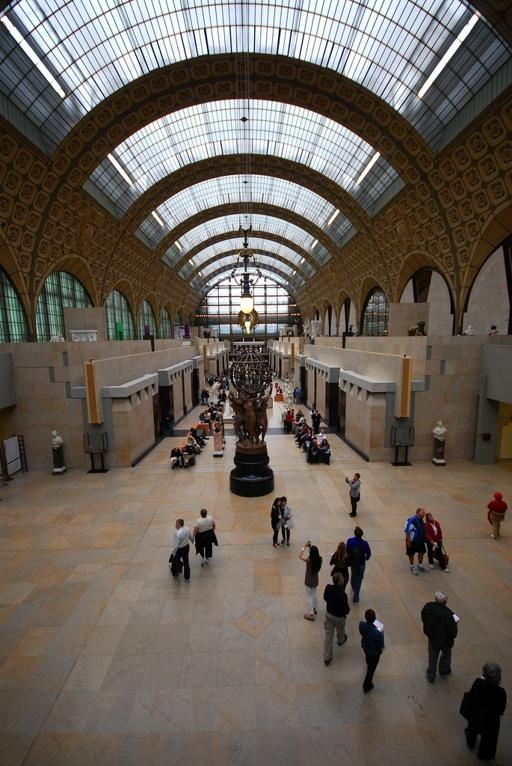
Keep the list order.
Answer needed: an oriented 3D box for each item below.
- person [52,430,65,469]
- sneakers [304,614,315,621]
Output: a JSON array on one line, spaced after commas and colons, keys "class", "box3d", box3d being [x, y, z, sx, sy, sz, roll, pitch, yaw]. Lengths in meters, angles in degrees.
[{"class": "person", "box3d": [-6.757, 2.339, 13.446, 0.380, 1.341, 0.607, -2, 5, -13]}, {"class": "sneakers", "box3d": [0.782, 3.484, 5.872, 0.141, 0.068, 0.072, 12, 13, 39]}]
